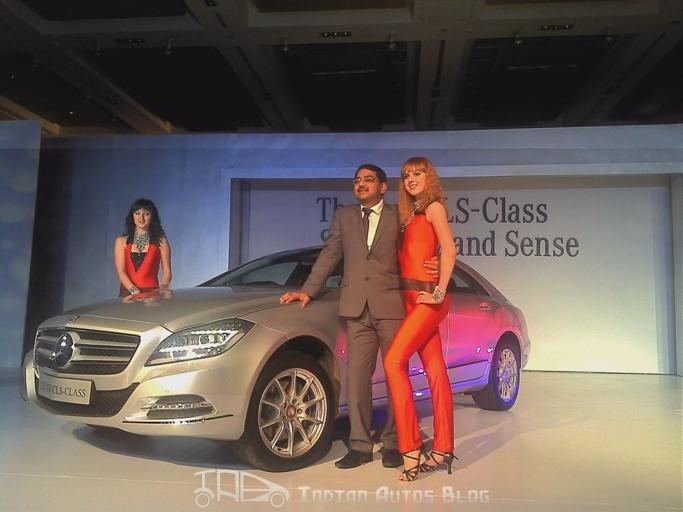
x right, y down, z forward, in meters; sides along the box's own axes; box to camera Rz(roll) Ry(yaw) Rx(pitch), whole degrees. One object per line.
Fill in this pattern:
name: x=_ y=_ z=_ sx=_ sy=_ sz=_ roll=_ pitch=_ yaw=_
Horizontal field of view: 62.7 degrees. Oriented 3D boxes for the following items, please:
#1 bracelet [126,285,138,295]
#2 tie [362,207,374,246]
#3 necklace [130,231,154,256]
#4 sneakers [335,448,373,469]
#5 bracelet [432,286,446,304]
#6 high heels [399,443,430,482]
bracelet: x=-2.097 y=0.327 z=5.586 sx=0.054 sy=0.116 sz=0.178 roll=28 pitch=-14 yaw=-31
tie: x=0.188 y=-0.240 z=4.321 sx=0.065 sy=0.272 sz=0.066 roll=0 pitch=-6 yaw=4
necklace: x=-2.098 y=-0.135 z=5.834 sx=0.143 sy=0.225 sz=0.064 roll=8 pitch=-13 yaw=-8
sneakers: x=0.096 y=1.469 z=4.179 sx=0.240 sy=0.112 sz=0.121 roll=1 pitch=-5 yaw=-30
bracelet: x=0.694 y=0.273 z=4.064 sx=0.107 sy=0.111 sz=0.101 roll=18 pitch=2 yaw=-11
high heels: x=0.537 y=1.468 z=4.053 sx=0.114 sy=0.148 sz=0.341 roll=-10 pitch=0 yaw=26
